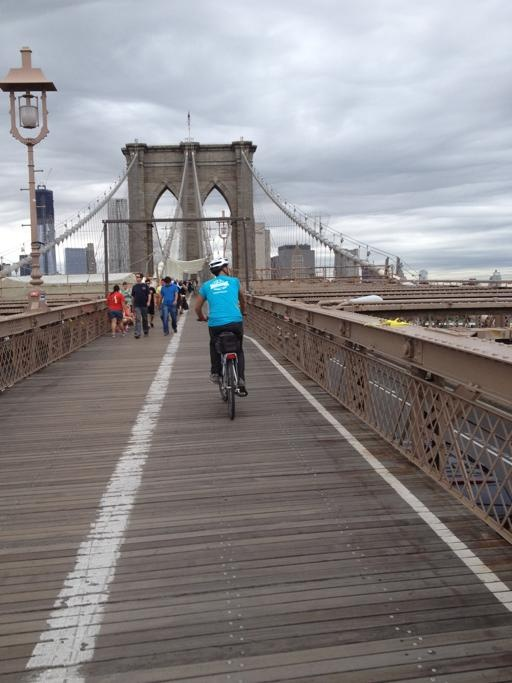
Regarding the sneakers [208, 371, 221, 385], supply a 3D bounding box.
[{"bbox_3d":[-0.554,0.499,7.537,0.113,0.115,0.278,1,-7,-10],"label":"sneakers"}]
